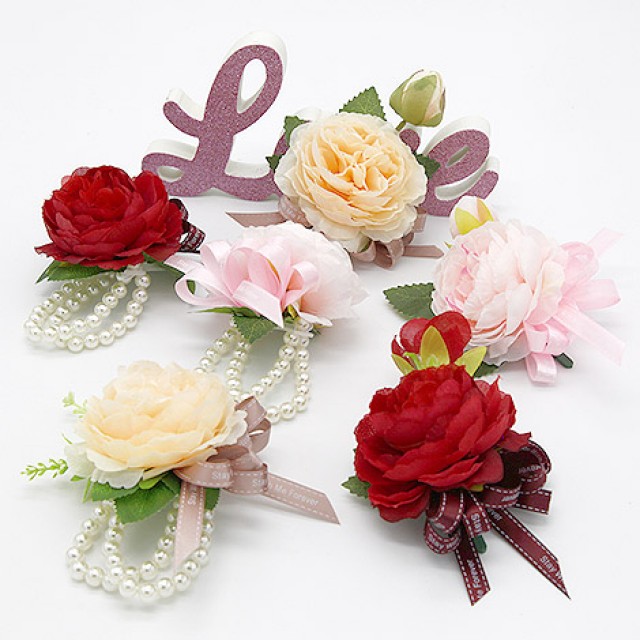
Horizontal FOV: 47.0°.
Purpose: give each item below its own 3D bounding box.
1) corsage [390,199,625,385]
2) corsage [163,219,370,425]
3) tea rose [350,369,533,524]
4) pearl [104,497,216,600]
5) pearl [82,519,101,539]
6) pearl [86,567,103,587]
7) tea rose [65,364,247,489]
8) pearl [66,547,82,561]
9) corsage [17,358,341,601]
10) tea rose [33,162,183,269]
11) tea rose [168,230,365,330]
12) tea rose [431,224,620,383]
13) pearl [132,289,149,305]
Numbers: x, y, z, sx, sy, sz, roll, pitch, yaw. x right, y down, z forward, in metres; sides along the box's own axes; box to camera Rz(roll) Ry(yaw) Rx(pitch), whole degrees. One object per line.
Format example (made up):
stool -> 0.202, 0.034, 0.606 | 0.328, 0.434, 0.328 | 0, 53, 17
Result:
corsage -> 0.333, -0.033, 1.278 | 0.389, 0.144, 0.312 | 27, 92, 13
corsage -> -0.111, -0.025, 1.166 | 0.286, 0.113, 0.284 | 4, 42, 12
tea rose -> 0.176, 0.160, 1.009 | 0.257, 0.125, 0.206 | 4, 55, 31
pearl -> -0.209, 0.294, 0.930 | 0.135, 0.092, 0.119 | 14, 40, -8
pearl -> -0.293, 0.269, 0.951 | 0.026, 0.020, 0.021 | -6, 45, -1
pearl -> -0.282, 0.321, 0.917 | 0.025, 0.037, 0.016 | 11, 45, -16
tea rose -> -0.223, 0.139, 0.935 | 0.214, 0.069, 0.154 | 6, 23, -9
pearl -> -0.309, 0.294, 0.924 | 0.019, 0.015, 0.013 | 0, 52, -11
corsage -> -0.156, 0.209, 0.939 | 0.413, 0.115, 0.270 | 8, 47, -10
tea rose -> -0.344, -0.162, 1.322 | 0.235, 0.116, 0.221 | -34, 69, -28
tea rose -> -0.127, -0.049, 1.187 | 0.224, 0.072, 0.190 | 15, 40, 38
tea rose -> 0.290, -0.026, 1.285 | 0.343, 0.126, 0.255 | 29, 65, 14
pearl -> -0.319, -0.042, 1.296 | 0.034, 0.015, 0.023 | 3, 69, -5
